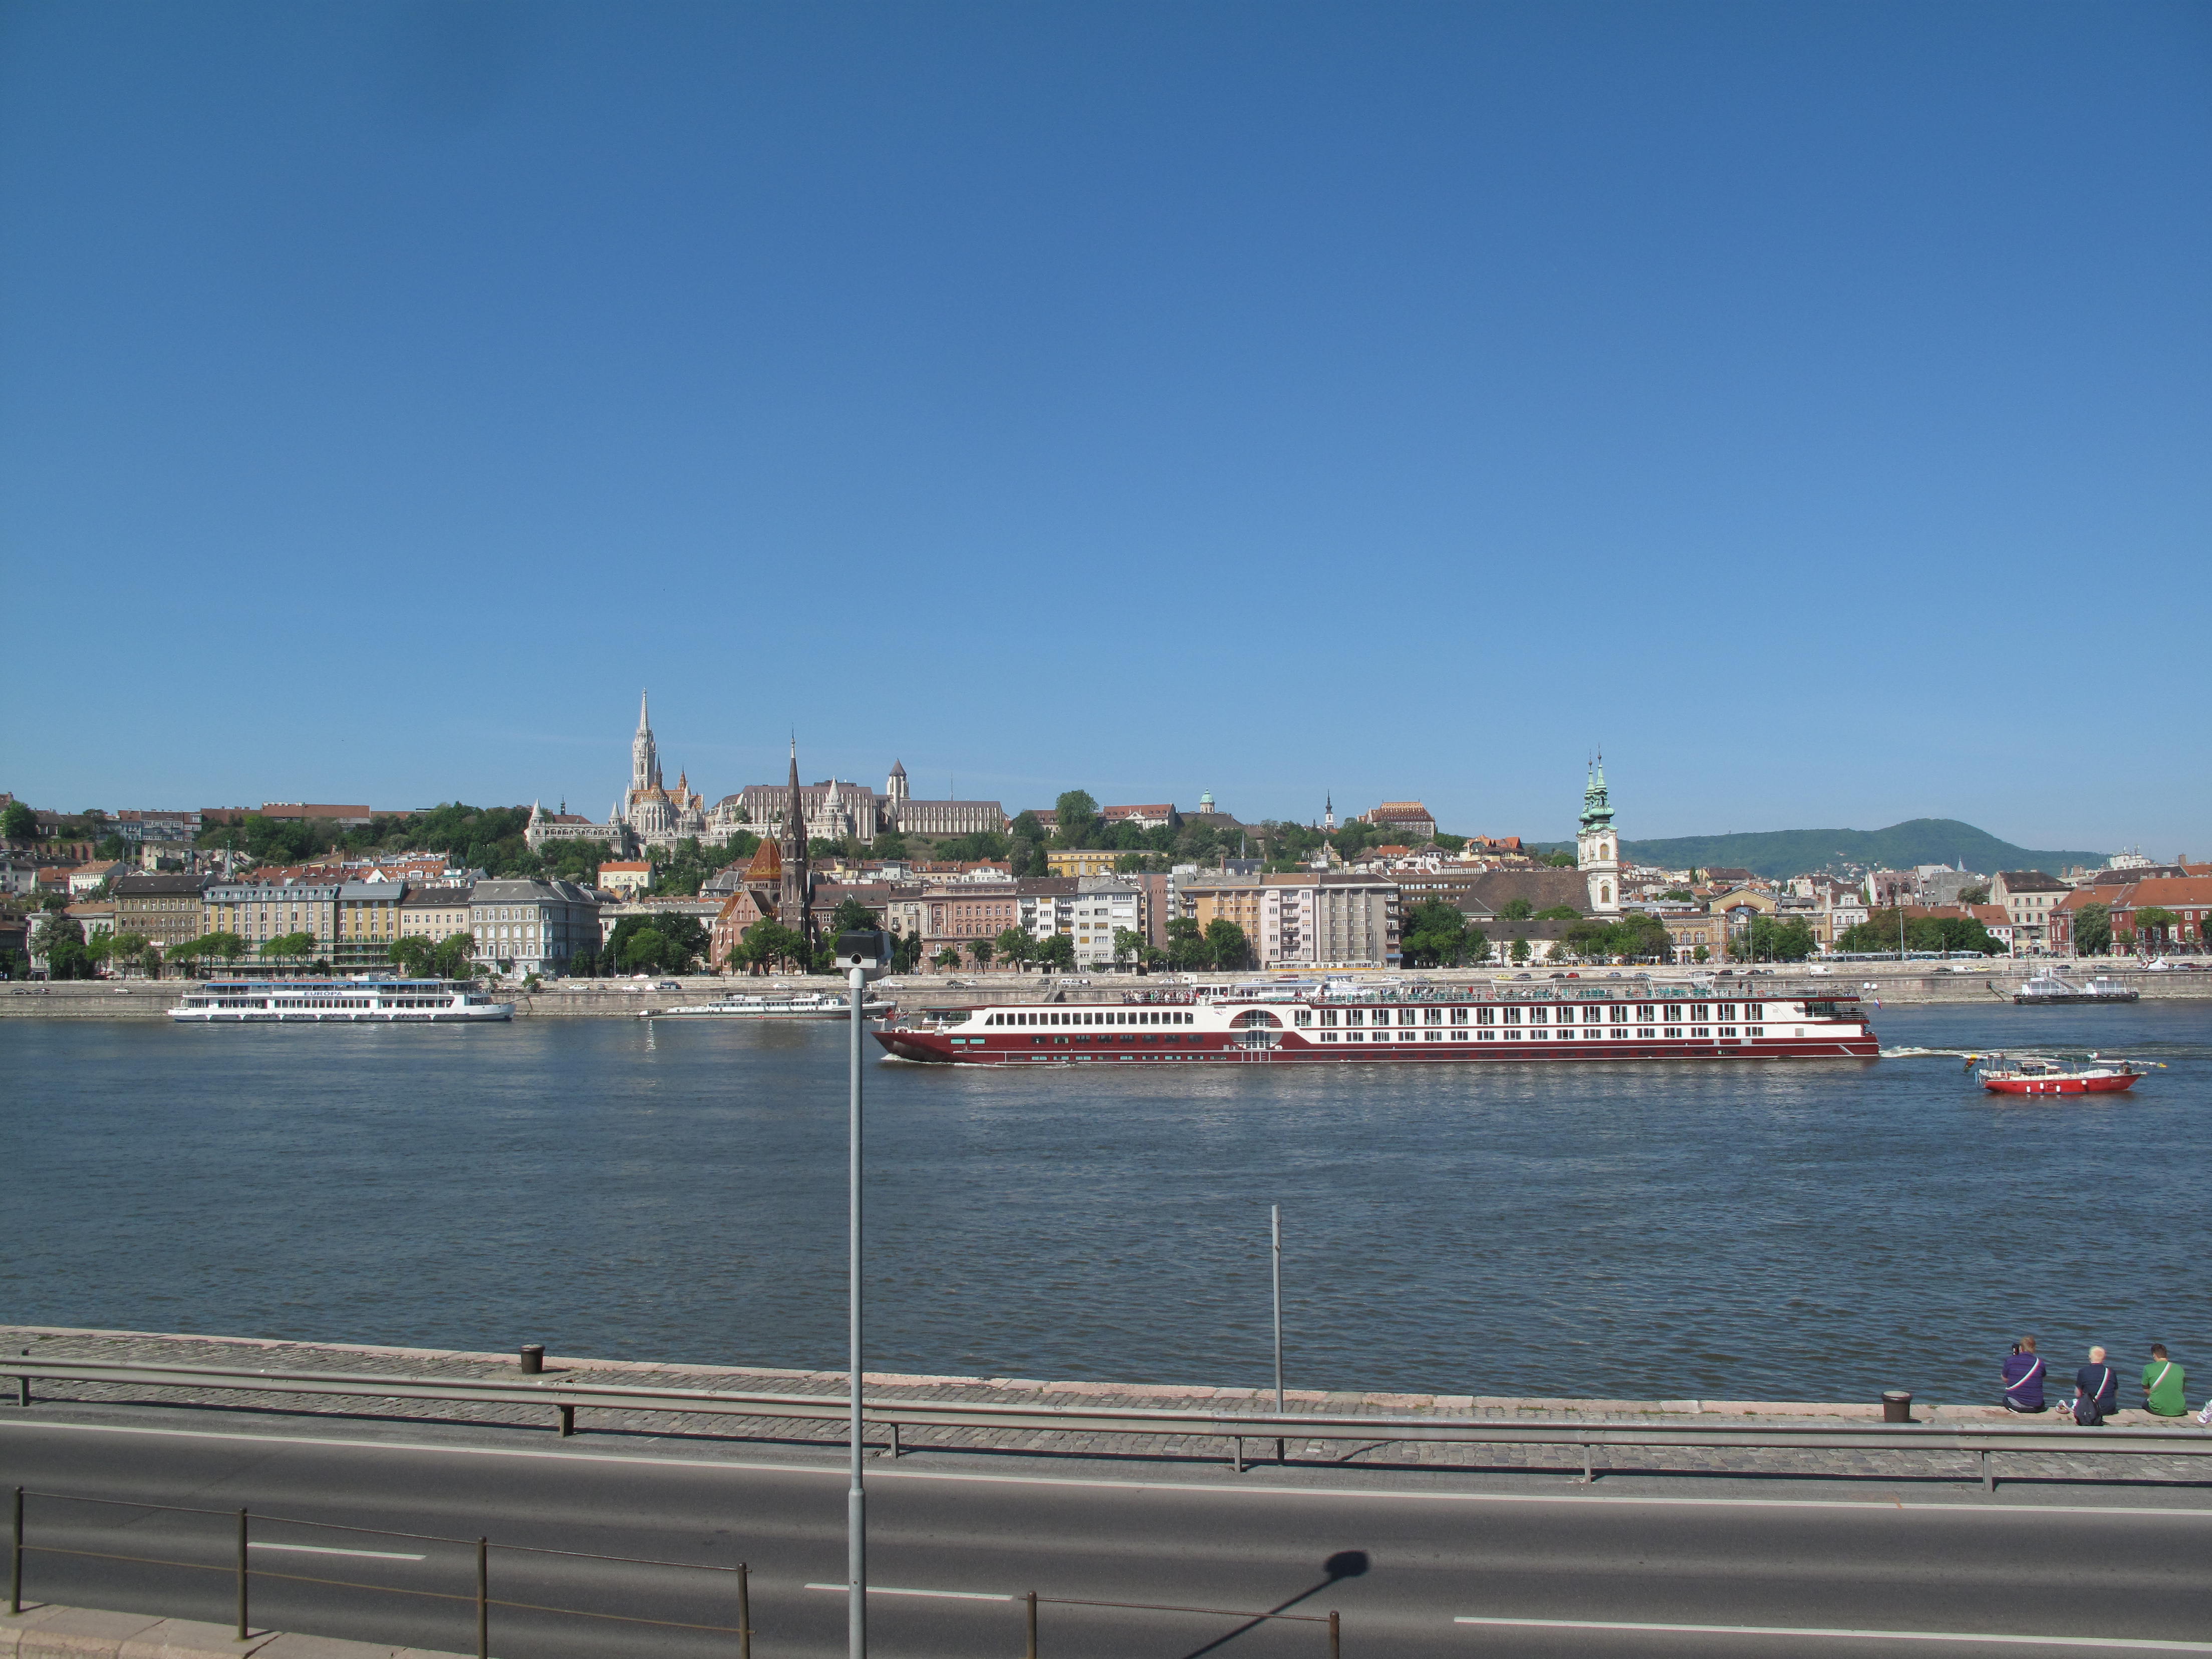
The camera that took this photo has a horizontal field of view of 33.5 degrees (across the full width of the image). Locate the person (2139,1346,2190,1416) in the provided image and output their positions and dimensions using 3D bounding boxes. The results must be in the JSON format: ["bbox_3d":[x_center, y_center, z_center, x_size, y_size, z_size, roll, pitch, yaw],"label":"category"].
[{"bbox_3d":[14.488,7.674,50.686,0.512,0.931,0.947,0,-2,12],"label":"person"}]

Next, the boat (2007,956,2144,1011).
[{"bbox_3d":[43.364,7.174,165.888,5.321,1.718,7.841,0,-2,13],"label":"boat"}]

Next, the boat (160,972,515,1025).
[{"bbox_3d":[-33.836,7.767,161.272,13.534,1.946,7.509,0,-2,9],"label":"boat"}]

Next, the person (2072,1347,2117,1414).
[{"bbox_3d":[13.346,7.627,50.012,0.597,1.008,1.486,0,-2,14],"label":"person"}]
